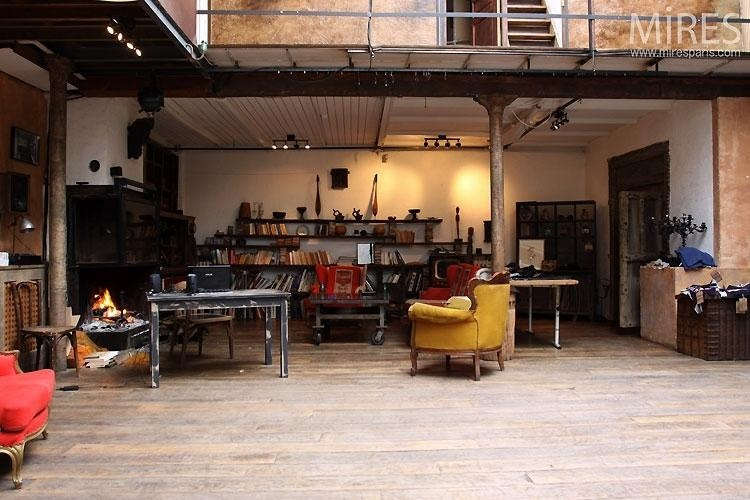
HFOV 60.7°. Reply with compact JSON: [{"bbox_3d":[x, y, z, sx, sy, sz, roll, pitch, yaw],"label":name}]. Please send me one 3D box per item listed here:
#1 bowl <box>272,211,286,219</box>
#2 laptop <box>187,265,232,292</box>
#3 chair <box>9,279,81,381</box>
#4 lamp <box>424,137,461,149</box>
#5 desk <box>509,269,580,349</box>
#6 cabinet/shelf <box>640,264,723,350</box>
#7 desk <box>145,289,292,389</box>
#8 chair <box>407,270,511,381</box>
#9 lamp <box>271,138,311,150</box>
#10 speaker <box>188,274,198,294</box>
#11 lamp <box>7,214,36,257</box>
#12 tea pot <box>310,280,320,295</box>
[{"bbox_3d":[-2.004,-0.717,13.367,0.275,0.176,0.290,0,13,0],"label":"bowl"},{"bbox_3d":[-2.195,0.385,8.590,0.609,0.371,0.329,1,-4,-20],"label":"laptop"},{"bbox_3d":[-4.430,1.095,8.624,0.872,1.180,0.826,4,0,23],"label":"chair"},{"bbox_3d":[1.375,-2.185,13.125,0.783,0.294,0.785,1,13,6],"label":"lamp"},{"bbox_3d":[2.669,0.863,10.159,1.281,0.886,1.448,0,2,11],"label":"desk"},{"bbox_3d":[4.935,0.886,10.614,1.086,1.481,1.371,1,0,-2],"label":"cabinet/shelf"},{"bbox_3d":[-2.133,1.152,8.587,1.799,1.091,0.986,0,-1,-22],"label":"desk"},{"bbox_3d":[1.169,1.016,8.901,1.361,1.436,1.369,-1,0,8],"label":"chair"},{"bbox_3d":[-1.735,-2.196,13.189,0.802,0.289,0.773,-2,13,-5],"label":"lamp"},{"bbox_3d":[-2.366,0.442,8.282,0.113,0.233,0.135,-5,14,-20],"label":"speaker"},{"bbox_3d":[-4.894,-0.203,8.894,0.312,0.507,0.735,-8,15,-30],"label":"lamp"},{"bbox_3d":[-1.096,0.698,11.594,0.230,0.200,0.224,-1,-14,0],"label":"tea pot"}]
